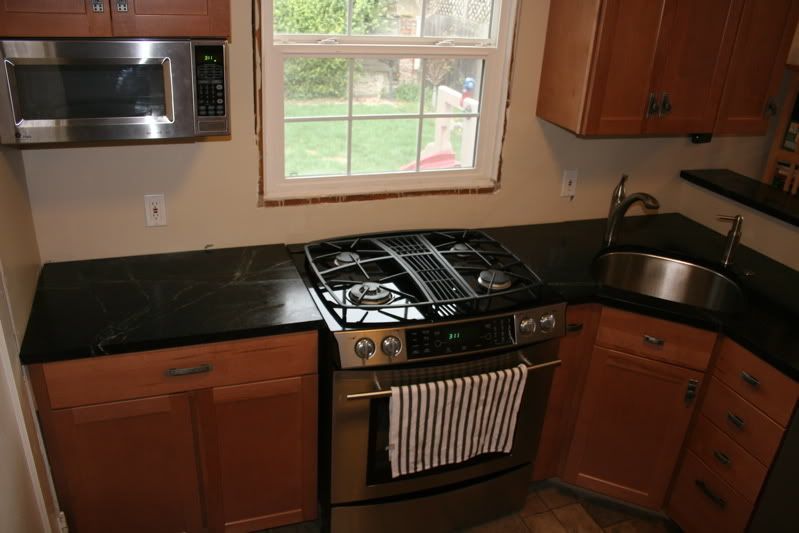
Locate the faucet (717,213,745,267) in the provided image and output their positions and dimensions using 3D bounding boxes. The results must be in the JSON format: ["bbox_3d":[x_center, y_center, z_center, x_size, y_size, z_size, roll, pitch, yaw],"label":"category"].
[{"bbox_3d":[1.735,-0.169,3.056,0.104,0.273,0.292,15,28,30],"label":"faucet"}]

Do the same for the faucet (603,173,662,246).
[{"bbox_3d":[1.237,-0.281,3.122,0.204,0.369,0.335,6,25,14],"label":"faucet"}]

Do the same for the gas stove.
[{"bbox_3d":[0.131,0.113,2.828,1.130,0.347,0.792,-7,25,-15],"label":"gas stove"}]

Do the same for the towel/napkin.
[{"bbox_3d":[0.244,0.681,2.641,0.621,0.455,0.089,-8,33,-15],"label":"towel/napkin"}]
